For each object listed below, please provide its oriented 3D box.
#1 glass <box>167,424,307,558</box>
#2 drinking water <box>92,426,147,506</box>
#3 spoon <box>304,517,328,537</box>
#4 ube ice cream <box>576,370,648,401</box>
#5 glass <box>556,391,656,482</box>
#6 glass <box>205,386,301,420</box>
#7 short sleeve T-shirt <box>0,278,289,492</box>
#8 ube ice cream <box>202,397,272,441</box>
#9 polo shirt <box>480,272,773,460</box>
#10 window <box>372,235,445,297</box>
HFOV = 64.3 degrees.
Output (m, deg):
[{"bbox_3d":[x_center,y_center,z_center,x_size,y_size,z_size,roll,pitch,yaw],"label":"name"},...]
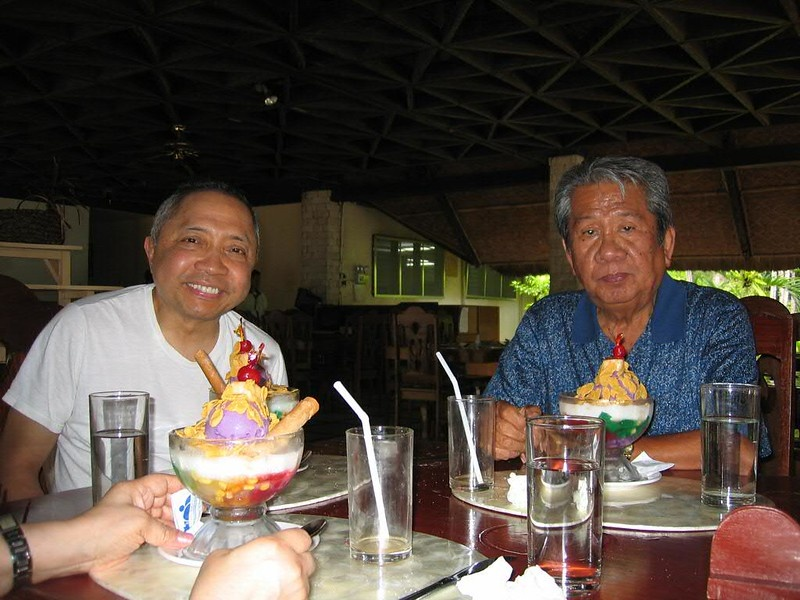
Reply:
[{"bbox_3d":[-0.281,0.303,1.175,0.236,0.216,0.240,-4,5,-43],"label":"glass"},{"bbox_3d":[-0.564,0.325,1.301,0.110,0.142,0.096,1,-11,-27],"label":"drinking water"},{"bbox_3d":[-0.151,0.406,1.145,0.021,0.022,0.086,15,-31,-43],"label":"spoon"},{"bbox_3d":[0.506,0.204,1.502,0.107,0.035,0.099,-3,2,-33],"label":"ube ice cream"},{"bbox_3d":[0.504,0.287,1.505,0.243,0.205,0.237,-2,-2,35],"label":"glass"},{"bbox_3d":[-0.315,0.232,1.496,0.128,0.072,0.115,1,-8,2],"label":"glass"},{"bbox_3d":[-0.702,0.225,1.680,0.841,0.542,0.286,2,-6,-16],"label":"short sleeve T-shirt"},{"bbox_3d":[-0.282,0.206,1.117,0.107,0.081,0.093,5,5,-17],"label":"ube ice cream"},{"bbox_3d":[0.849,0.174,2.365,1.193,0.709,0.597,-1,-8,33],"label":"polo shirt"},{"bbox_3d":[0.232,-0.629,12.981,0.087,1.176,2.360,0,-1,38],"label":"window"}]
